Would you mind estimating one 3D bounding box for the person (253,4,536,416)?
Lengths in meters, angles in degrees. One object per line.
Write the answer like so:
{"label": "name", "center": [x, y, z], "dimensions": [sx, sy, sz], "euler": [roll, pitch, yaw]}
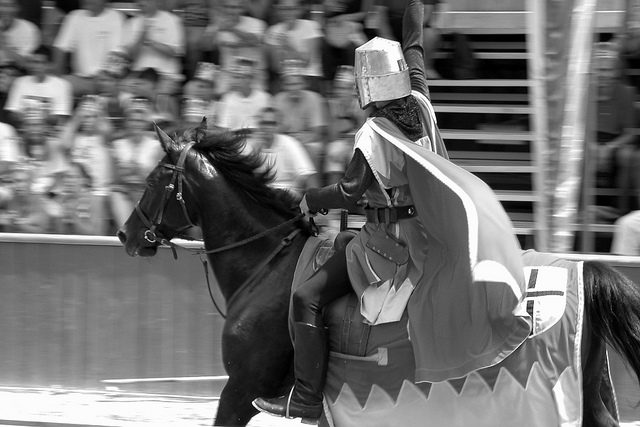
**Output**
{"label": "person", "center": [0.660, 0.158, 10.279], "dimensions": [1.775, 2.640, 0.501], "euler": [-4, -6, 6]}
